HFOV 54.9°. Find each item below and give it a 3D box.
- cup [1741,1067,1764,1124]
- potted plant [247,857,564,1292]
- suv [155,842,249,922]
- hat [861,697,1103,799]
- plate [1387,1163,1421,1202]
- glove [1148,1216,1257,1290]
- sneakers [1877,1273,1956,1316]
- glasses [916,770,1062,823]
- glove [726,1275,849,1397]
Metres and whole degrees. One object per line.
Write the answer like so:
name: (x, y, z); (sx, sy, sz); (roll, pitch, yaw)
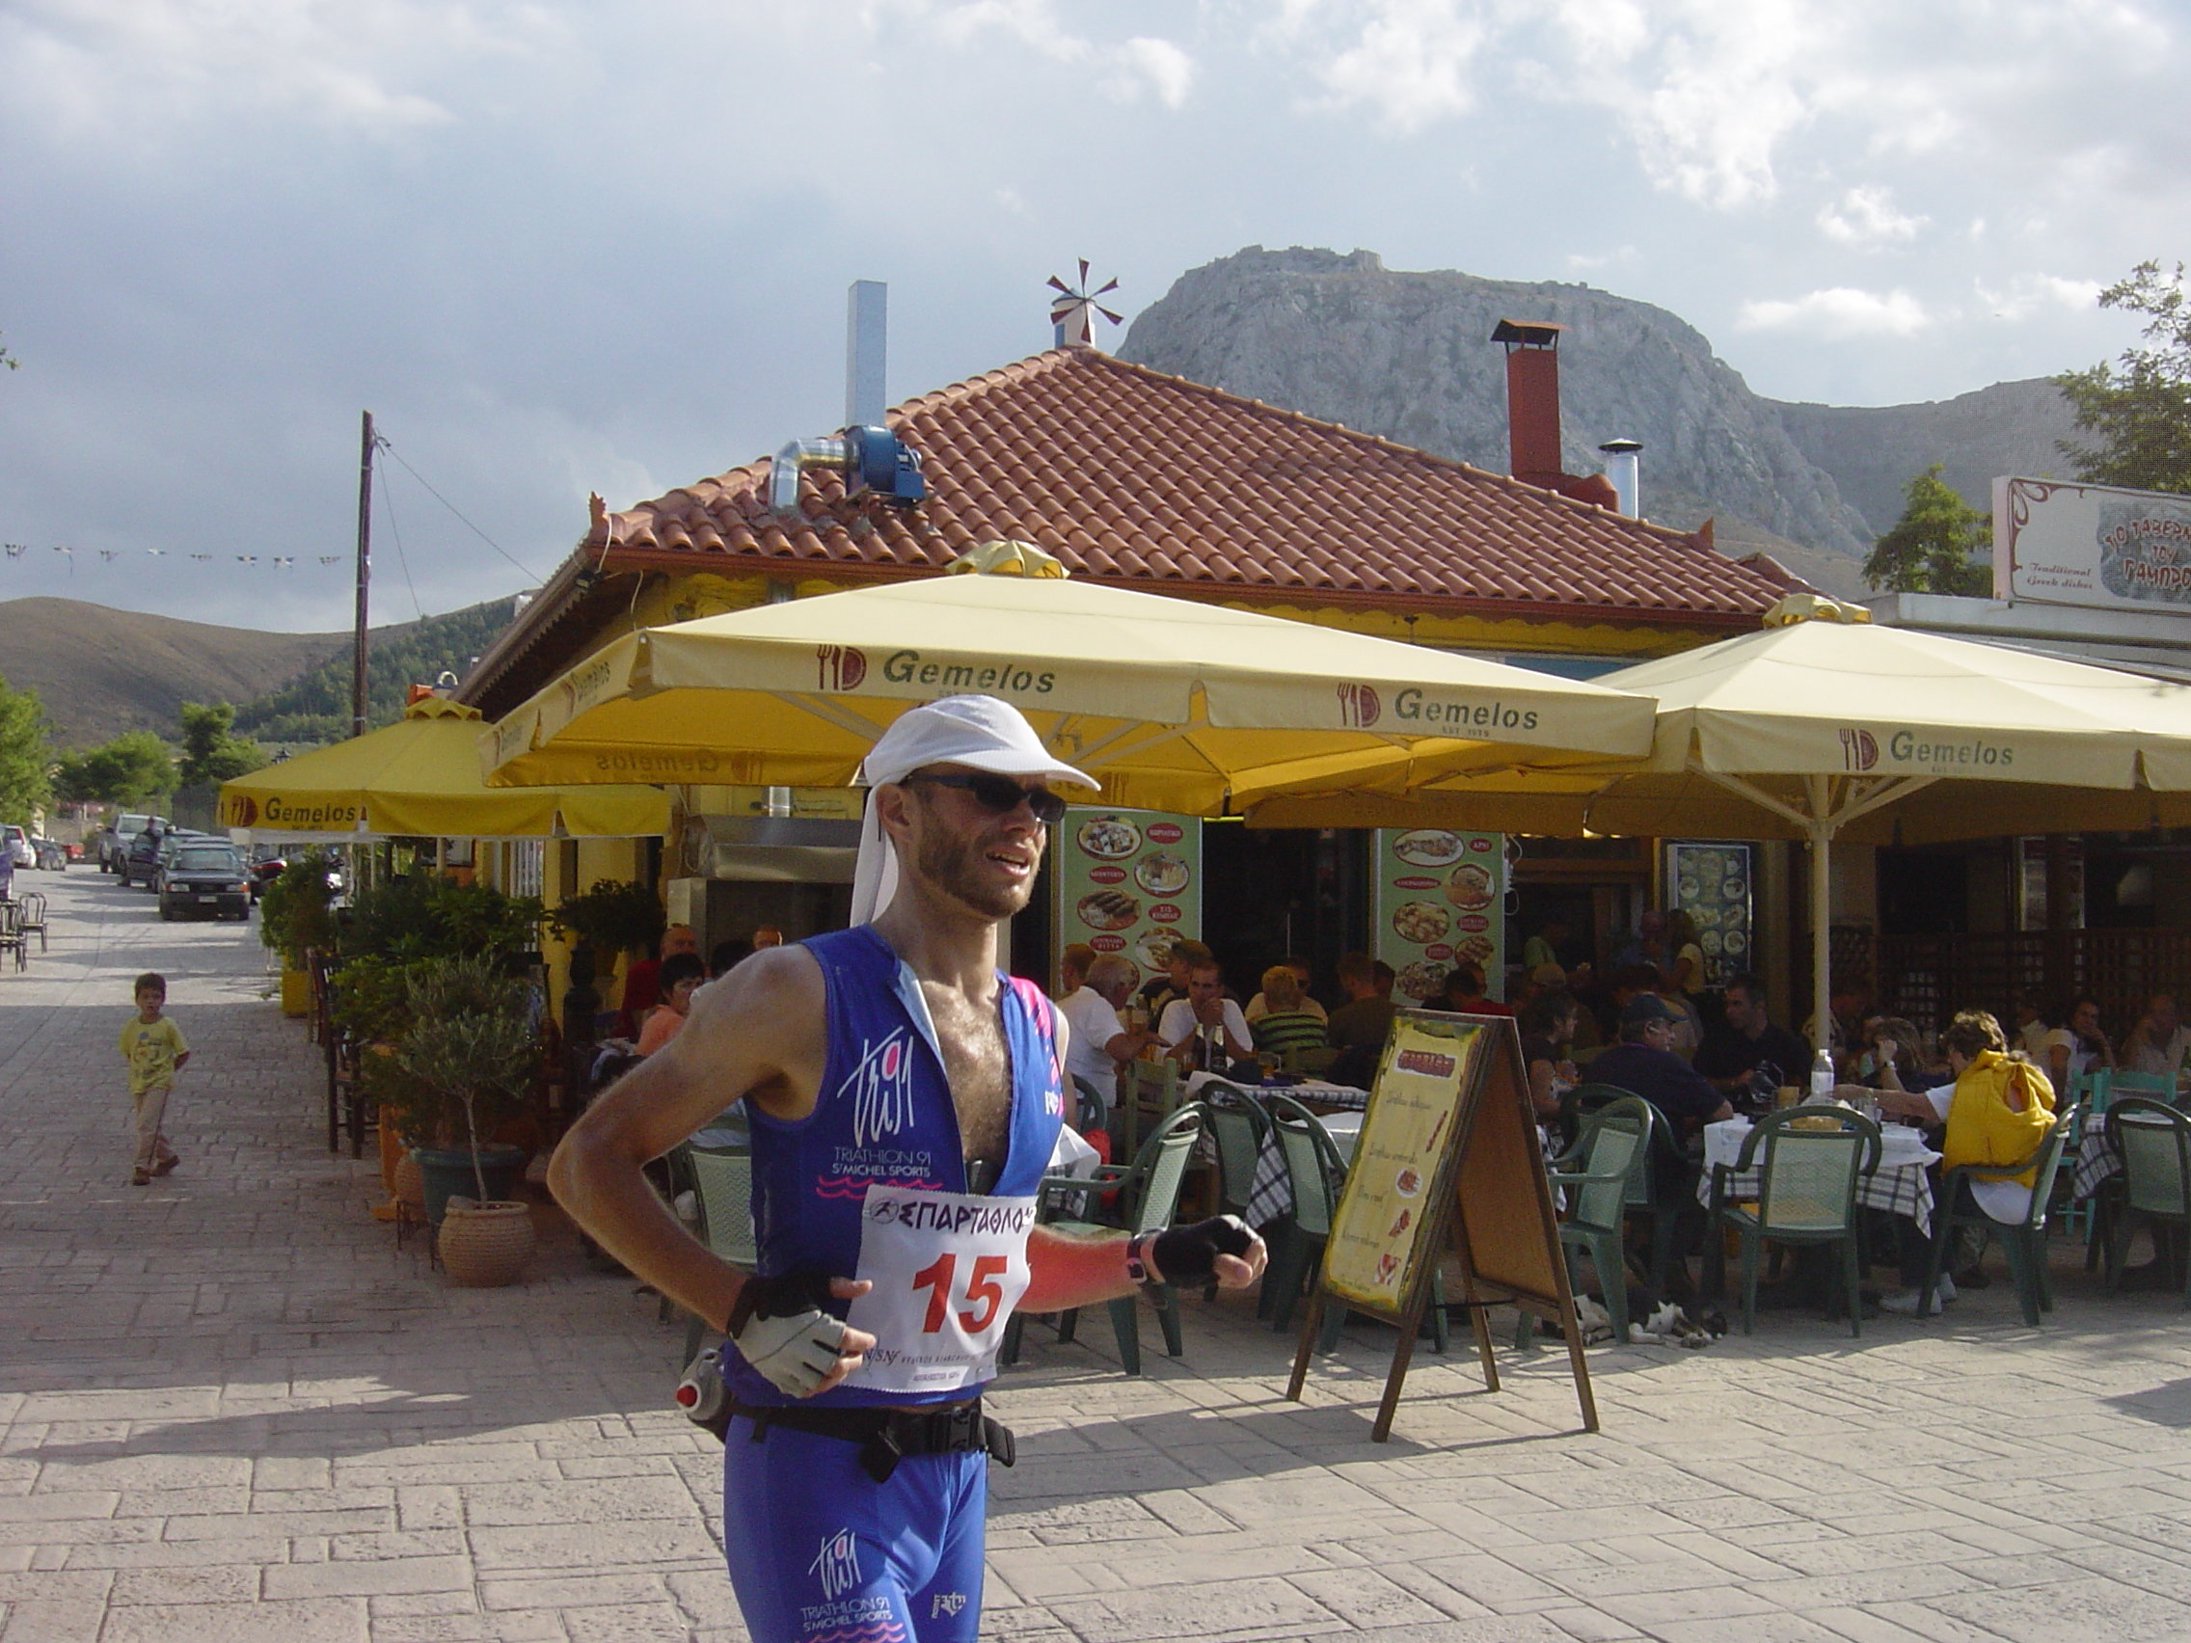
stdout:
cup: (3.726, 1.561, 11.946); (0.113, 0.261, 0.144); (-10, 6, -39)
potted plant: (-3.743, 1.445, 12.691); (2.010, 3.048, 1.386); (0, 3, -33)
suv: (-22.333, 1.519, 52.722); (1.627, 1.405, 3.236); (1, -7, -24)
hat: (-0.268, -0.161, 4.491); (0.357, 0.149, 0.235); (4, 0, -5)
plate: (1.259, 1.466, 8.567); (0.096, 0.103, 0.117); (17, -27, -6)
glove: (0.240, 0.927, 4.663); (0.293, 0.183, 0.165); (-5, -22, 1)
sneakers: (4.113, 2.391, 10.593); (0.147, 0.178, 0.440); (0, 0, -15)
glasses: (-0.196, -0.055, 4.445); (0.152, 0.044, 0.149); (9, -4, 42)
glove: (-0.602, 1.003, 4.147); (0.230, 0.218, 0.178); (0, 0, -11)
